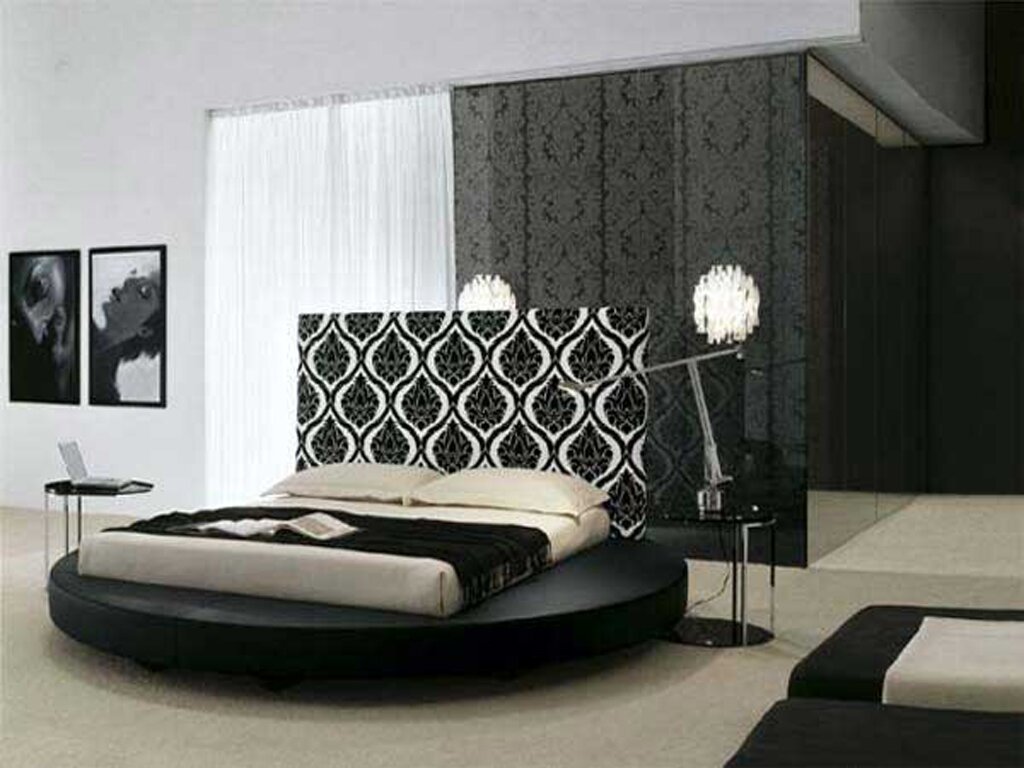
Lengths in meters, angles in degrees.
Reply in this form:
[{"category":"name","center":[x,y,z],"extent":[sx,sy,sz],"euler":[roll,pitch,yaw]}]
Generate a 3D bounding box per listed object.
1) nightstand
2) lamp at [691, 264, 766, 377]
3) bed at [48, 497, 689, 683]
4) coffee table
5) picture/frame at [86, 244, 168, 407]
[{"category":"nightstand","center":[0.972,0.801,4.424],"extent":[0.512,0.639,0.524],"euler":[-1,-2,38]},{"category":"lamp","center":[1.090,-0.293,5.026],"extent":[0.354,0.556,0.127],"euler":[1,-2,7]},{"category":"bed","center":[-0.408,0.746,3.724],"extent":[2.317,0.515,0.639],"euler":[-1,11,-16]},{"category":"coffee table","center":[-1.299,0.463,3.152],"extent":[0.289,0.363,0.245],"euler":[1,4,-5]},{"category":"picture/frame","center":[-1.256,-0.184,3.296],"extent":[0.247,0.513,0.206],"euler":[-3,11,-21]}]
